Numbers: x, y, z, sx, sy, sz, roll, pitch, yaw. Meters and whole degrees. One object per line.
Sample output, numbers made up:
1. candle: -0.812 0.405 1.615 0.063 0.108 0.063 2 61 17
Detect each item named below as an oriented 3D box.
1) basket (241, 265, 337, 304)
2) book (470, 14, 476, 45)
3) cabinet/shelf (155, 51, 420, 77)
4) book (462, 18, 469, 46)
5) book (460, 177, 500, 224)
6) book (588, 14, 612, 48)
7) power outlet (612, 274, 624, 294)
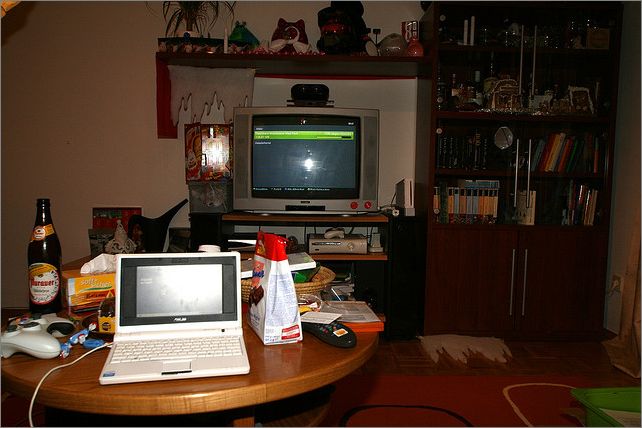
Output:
1. basket: -0.161 0.373 2.612 0.559 0.177 0.247 -3 4 -28
2. book: 1.221 -1.471 3.985 0.032 0.244 0.120 0 4 23
3. cabinet/shelf: -0.185 -1.212 4.124 2.103 0.193 0.424 -1 3 0
4. book: 1.162 -1.465 3.968 0.053 0.202 0.023 -2 4 -11
5. book: 1.332 -0.117 4.227 0.308 0.386 0.421 -2 -2 12
6. book: 2.207 -1.433 3.937 0.177 0.248 0.015 -1 4 4
7. power outlet: 2.395 0.567 3.997 0.076 0.134 0.146 3 -17 2
